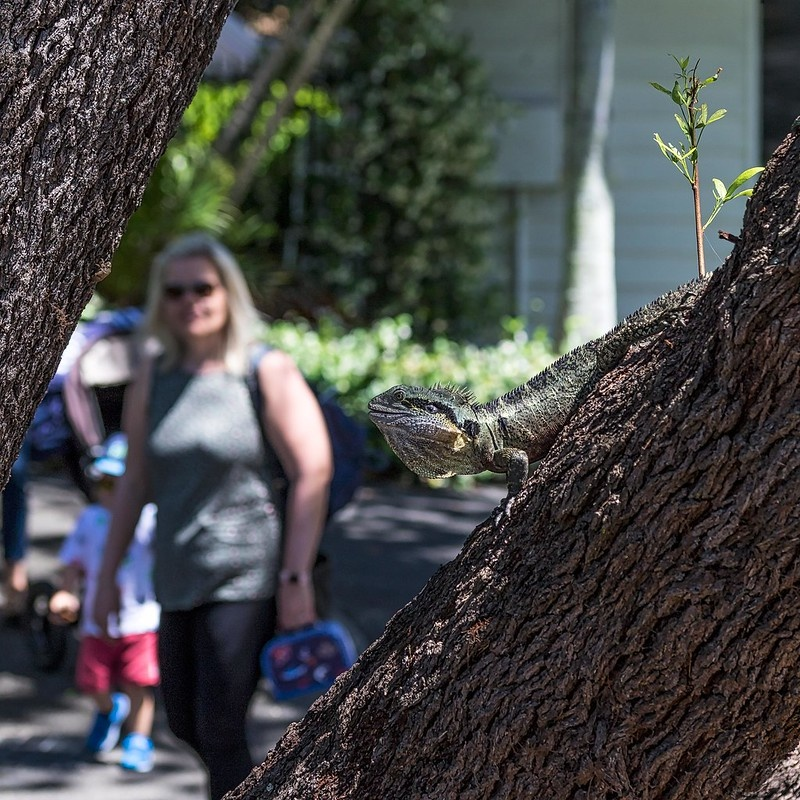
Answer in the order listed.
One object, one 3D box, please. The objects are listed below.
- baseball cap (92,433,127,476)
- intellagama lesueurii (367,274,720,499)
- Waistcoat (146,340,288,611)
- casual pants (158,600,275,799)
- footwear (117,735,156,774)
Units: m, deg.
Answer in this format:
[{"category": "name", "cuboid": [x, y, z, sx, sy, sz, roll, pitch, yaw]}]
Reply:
[{"category": "baseball cap", "cuboid": [-0.997, 0.269, 5.266, 0.111, 0.160, 0.269, -2, -3, -20]}, {"category": "intellagama lesueurii", "cuboid": [0.300, 0.076, 3.362, 1.025, 0.272, 0.346, -11, 18, -43]}, {"category": "Waistcoat", "cuboid": [-0.474, 0.277, 3.846, 0.349, 0.665, 0.226, -4, -3, 10]}, {"category": "casual pants", "cuboid": [-0.476, 0.843, 3.816, 0.328, 0.525, 0.142, -5, -4, 30]}, {"category": "footwear", "cuboid": [-0.913, 1.364, 5.296, 0.120, 0.139, 0.197, -2, -3, -10]}]
